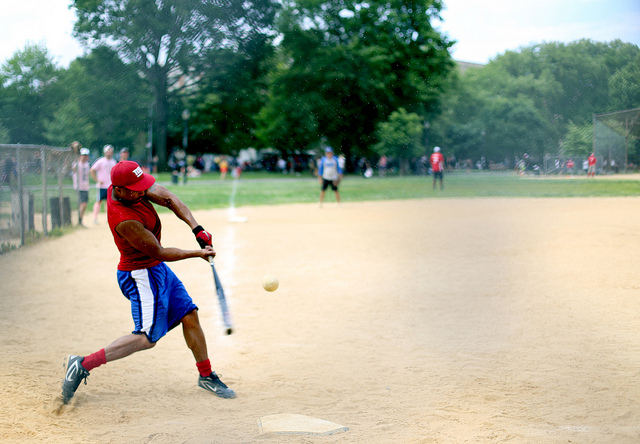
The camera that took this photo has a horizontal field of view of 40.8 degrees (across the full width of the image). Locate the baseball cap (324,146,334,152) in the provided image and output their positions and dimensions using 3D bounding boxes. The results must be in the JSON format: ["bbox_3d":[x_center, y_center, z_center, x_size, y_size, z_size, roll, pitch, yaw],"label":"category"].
[{"bbox_3d":[0.271,-2.116,25.259,0.376,0.163,0.540,3,1,2],"label":"baseball cap"}]

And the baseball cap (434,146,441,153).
[{"bbox_3d":[3.533,-2.182,25.956,0.076,0.170,0.241,-5,6,-41],"label":"baseball cap"}]

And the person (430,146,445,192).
[{"bbox_3d":[3.589,-1.529,26.313,0.397,1.112,1.144,0,4,8],"label":"person"}]

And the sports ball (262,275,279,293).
[{"bbox_3d":[-0.857,1.074,14.821,0.250,0.295,0.251,-1,4,0],"label":"sports ball"}]

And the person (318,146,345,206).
[{"bbox_3d":[0.325,-1.308,25.326,0.664,1.760,1.212,-1,5,0],"label":"person"}]

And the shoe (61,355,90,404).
[{"bbox_3d":[-3.913,2.482,13.943,0.479,0.898,0.303,4,-6,2],"label":"shoe"}]
